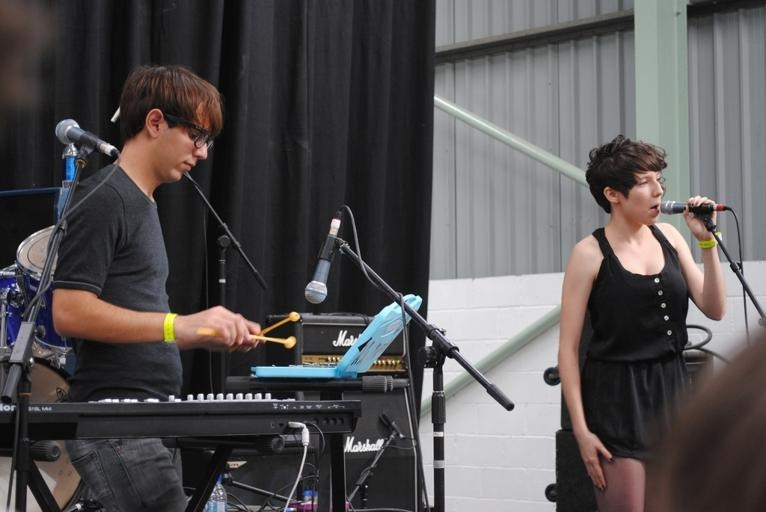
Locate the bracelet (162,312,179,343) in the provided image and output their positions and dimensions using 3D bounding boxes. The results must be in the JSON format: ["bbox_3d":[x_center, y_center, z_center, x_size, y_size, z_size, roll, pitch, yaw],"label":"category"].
[{"bbox_3d":[-0.789,0.262,4.230,0.059,0.096,0.088,3,-19,-4],"label":"bracelet"}]

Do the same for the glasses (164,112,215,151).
[{"bbox_3d":[-0.774,-0.507,4.450,0.136,0.042,0.140,35,1,25],"label":"glasses"}]

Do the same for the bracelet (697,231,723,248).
[{"bbox_3d":[1.459,-0.070,4.990,0.086,0.040,0.120,-19,4,33],"label":"bracelet"}]

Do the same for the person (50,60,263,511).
[{"bbox_3d":[-0.917,0.094,4.334,0.707,1.713,0.413,1,-1,-17],"label":"person"}]
